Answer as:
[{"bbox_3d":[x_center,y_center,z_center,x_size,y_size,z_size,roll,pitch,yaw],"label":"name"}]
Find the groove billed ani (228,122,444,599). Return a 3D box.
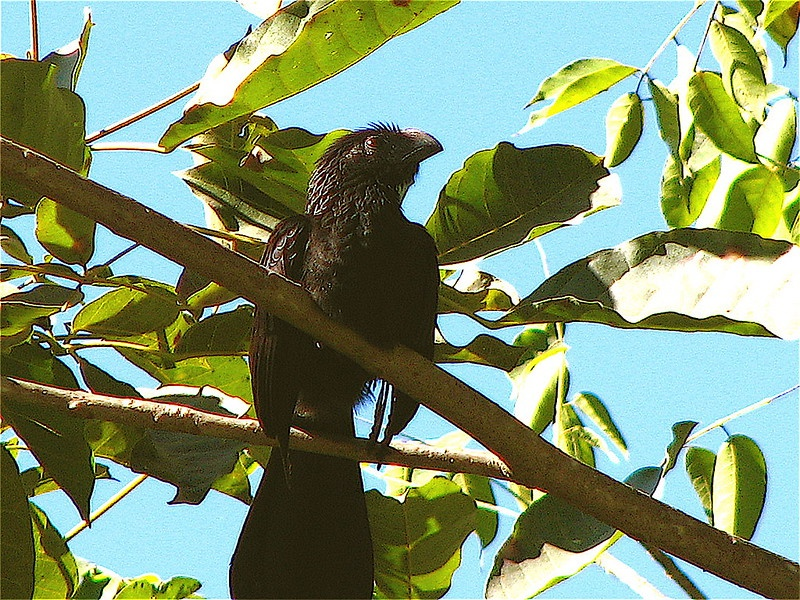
[{"bbox_3d":[-0.190,0.205,4.487,0.443,1.544,0.586,9,1,-13],"label":"groove billed ani"}]
